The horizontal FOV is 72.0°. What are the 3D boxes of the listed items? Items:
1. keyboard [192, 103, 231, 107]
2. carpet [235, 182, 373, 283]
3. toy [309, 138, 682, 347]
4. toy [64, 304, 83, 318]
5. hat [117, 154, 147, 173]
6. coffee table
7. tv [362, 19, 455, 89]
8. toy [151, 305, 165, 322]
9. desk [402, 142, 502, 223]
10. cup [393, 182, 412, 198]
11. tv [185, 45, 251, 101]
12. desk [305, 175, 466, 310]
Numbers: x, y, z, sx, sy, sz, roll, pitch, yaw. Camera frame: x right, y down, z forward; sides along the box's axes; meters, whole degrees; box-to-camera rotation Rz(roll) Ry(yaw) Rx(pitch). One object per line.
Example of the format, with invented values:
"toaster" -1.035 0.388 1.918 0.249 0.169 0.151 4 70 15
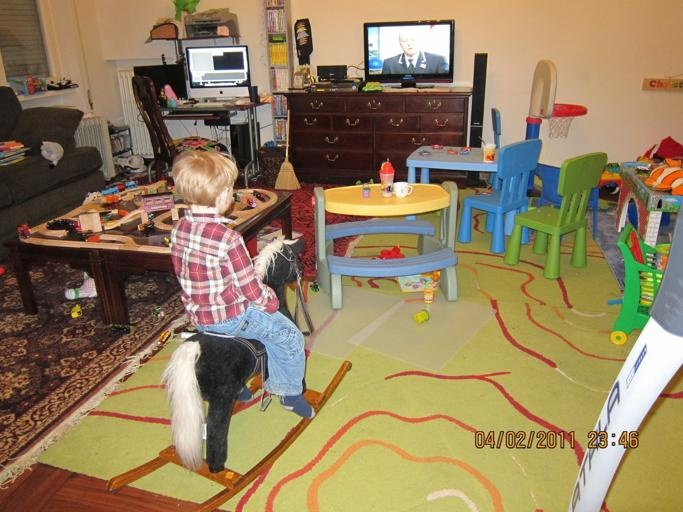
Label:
"keyboard" -1.677 -1.974 6.100 0.417 0.045 0.192 1 22 0
"carpet" -0.355 -0.294 4.533 0.955 0.598 1.290 3 29 6
"toy" 1.144 -0.096 3.449 1.977 0.770 1.116 -2 33 -1
"toy" -1.812 0.369 3.212 0.078 0.022 0.102 5 32 3
"hat" -2.937 -1.308 6.556 0.372 0.174 0.268 9 28 -7
"coffee table" -1.492 0.024 3.139 1.082 0.428 1.281 9 28 14
"tv" 0.819 -2.487 5.686 1.232 0.661 0.109 3 30 9
"toy" -1.243 0.384 3.208 0.072 0.033 0.091 4 19 -16
"desk" 0.958 -0.716 4.465 0.759 0.306 0.513 4 35 8
"cup" 0.423 -0.481 3.329 0.099 0.086 0.134 -10 30 -18
"tv" -1.616 -2.435 6.184 0.963 0.640 0.280 0 27 1
"desk" 0.305 -0.168 3.381 1.035 0.619 0.861 -3 26 -5
